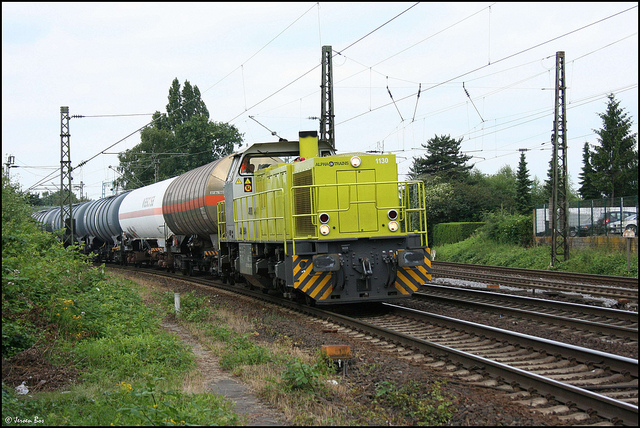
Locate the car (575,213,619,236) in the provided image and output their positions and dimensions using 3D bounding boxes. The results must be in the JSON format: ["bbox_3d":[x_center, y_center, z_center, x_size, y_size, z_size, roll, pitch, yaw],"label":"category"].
[{"bbox_3d":[13.929,0.519,26.780,1.925,0.949,1.204,-1,-1,16],"label":"car"}]
